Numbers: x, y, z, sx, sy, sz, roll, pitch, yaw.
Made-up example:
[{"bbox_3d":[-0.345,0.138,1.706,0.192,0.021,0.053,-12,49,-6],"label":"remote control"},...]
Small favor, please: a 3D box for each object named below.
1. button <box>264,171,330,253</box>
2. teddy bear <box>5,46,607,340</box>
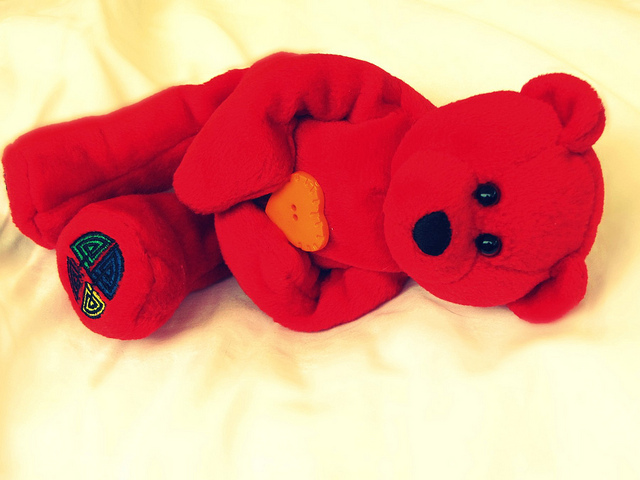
[{"bbox_3d":[-0.029,-0.040,0.934,0.107,0.105,0.029,38,24,23],"label":"button"},{"bbox_3d":[-0.014,-0.061,1.000,0.797,0.456,0.330,-3,99,19],"label":"teddy bear"}]
